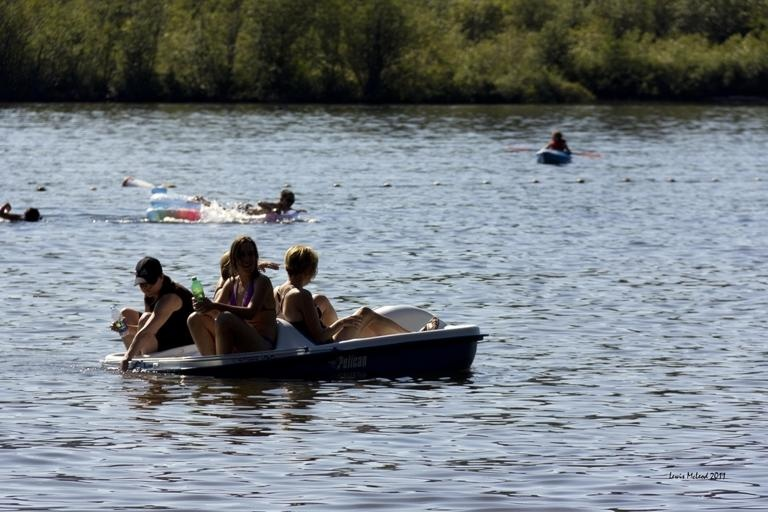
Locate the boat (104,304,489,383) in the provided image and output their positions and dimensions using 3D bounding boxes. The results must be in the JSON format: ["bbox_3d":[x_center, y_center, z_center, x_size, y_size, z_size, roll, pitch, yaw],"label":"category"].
[{"bbox_3d":[-2.149,2.717,42.751,8.944,1.470,3.218,-1,-6,-9],"label":"boat"}]

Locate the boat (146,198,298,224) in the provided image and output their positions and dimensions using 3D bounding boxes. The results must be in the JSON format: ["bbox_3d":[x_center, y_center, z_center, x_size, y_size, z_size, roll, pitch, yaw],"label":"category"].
[{"bbox_3d":[-5.234,-1.393,53.156,3.893,0.568,0.790,2,-12,-6],"label":"boat"}]

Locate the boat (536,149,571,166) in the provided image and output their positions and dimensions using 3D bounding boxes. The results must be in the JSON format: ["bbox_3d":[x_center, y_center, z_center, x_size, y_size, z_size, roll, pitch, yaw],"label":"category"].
[{"bbox_3d":[6.842,-3.943,65.668,1.291,0.651,0.869,2,4,10],"label":"boat"}]

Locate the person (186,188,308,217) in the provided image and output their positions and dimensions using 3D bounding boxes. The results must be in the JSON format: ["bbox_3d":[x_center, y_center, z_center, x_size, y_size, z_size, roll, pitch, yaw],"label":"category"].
[{"bbox_3d":[-4.571,-1.807,53.706,3.987,1.213,1.155,1,-16,9],"label":"person"}]
